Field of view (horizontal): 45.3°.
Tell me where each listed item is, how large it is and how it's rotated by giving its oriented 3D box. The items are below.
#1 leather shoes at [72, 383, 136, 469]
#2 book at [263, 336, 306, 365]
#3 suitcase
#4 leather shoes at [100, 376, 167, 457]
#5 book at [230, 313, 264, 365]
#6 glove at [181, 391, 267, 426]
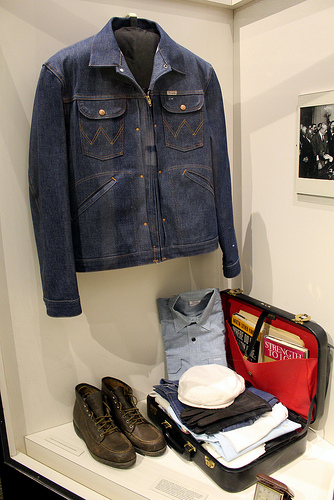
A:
[{"bbox_3d":[-0.205,0.556,1.333,0.110,0.143,0.322,-12,27,-29],"label":"leather shoes"},{"bbox_3d":[0.376,0.331,1.298,0.022,0.089,0.088,-8,9,-38],"label":"book"},{"bbox_3d":[0.201,0.417,1.323,0.413,0.456,0.491,-8,7,-29],"label":"suitcase"},{"bbox_3d":[-0.112,0.556,1.371,0.113,0.128,0.332,-14,32,-31],"label":"leather shoes"},{"bbox_3d":[0.286,0.317,1.465,0.038,0.137,0.143,-4,13,-27],"label":"book"},{"bbox_3d":[0.176,0.486,1.222,0.129,0.035,0.114,-8,4,-19],"label":"glove"}]
